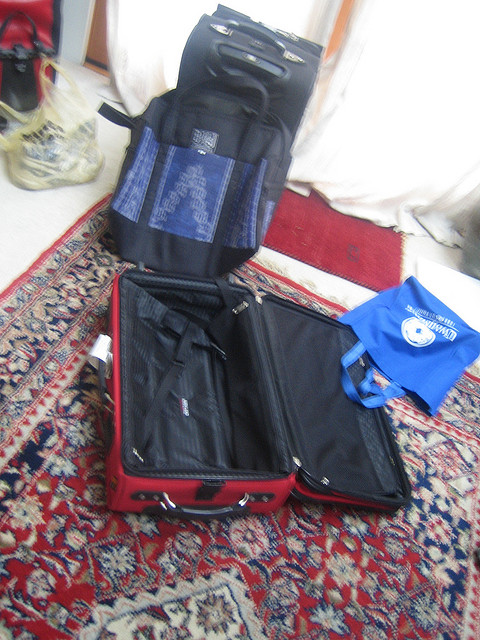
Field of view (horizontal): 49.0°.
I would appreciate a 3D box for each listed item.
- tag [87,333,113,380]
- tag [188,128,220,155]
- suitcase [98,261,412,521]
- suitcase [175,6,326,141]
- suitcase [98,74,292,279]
[{"bbox_3d":[-0.269,0.068,1.037,0.057,0.072,0.081,-1,14,1],"label":"tag"},{"bbox_3d":[-0.102,-0.507,1.502,0.080,0.068,0.021,10,11,-3],"label":"tag"},{"bbox_3d":[0.038,0.167,1.185,0.723,0.247,0.526,8,37,-23],"label":"suitcase"},{"bbox_3d":[0.045,-0.699,1.607,0.370,0.350,0.353,20,-7,-2],"label":"suitcase"},{"bbox_3d":[-0.125,-0.338,1.661,0.525,0.755,0.331,24,38,0],"label":"suitcase"}]
